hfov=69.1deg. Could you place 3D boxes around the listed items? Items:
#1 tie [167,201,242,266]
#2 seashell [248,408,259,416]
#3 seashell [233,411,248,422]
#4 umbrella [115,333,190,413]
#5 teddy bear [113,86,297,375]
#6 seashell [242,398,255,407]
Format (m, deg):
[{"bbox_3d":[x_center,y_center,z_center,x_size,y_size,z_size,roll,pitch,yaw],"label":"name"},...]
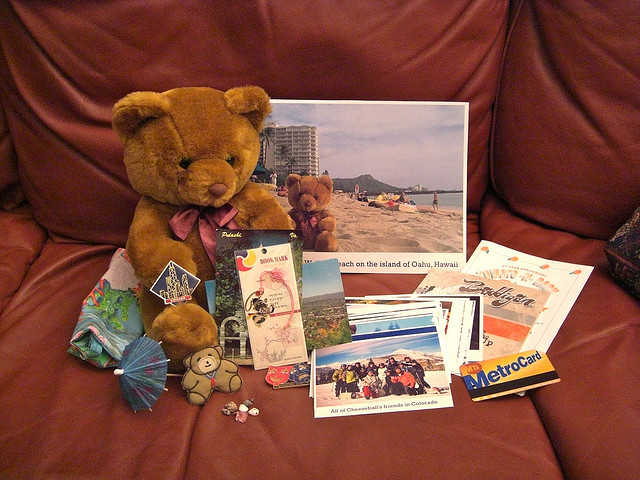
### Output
[{"bbox_3d":[-0.305,-0.011,1.275,0.189,0.055,0.181,-15,89,-18],"label":"tie"},{"bbox_3d":[-0.159,0.417,1.129,0.023,0.006,0.018,6,46,12],"label":"seashell"},{"bbox_3d":[-0.189,0.424,1.119,0.021,0.006,0.021,0,18,-17],"label":"seashell"},{"bbox_3d":[-0.443,0.324,1.160,0.159,0.144,0.142,-7,77,44],"label":"umbrella"},{"bbox_3d":[-0.299,-0.028,1.372,0.570,0.704,0.687,-3,39,-12],"label":"teddy bear"},{"bbox_3d":[-0.173,0.400,1.148,0.031,0.010,0.021,-24,48,-17],"label":"seashell"}]
